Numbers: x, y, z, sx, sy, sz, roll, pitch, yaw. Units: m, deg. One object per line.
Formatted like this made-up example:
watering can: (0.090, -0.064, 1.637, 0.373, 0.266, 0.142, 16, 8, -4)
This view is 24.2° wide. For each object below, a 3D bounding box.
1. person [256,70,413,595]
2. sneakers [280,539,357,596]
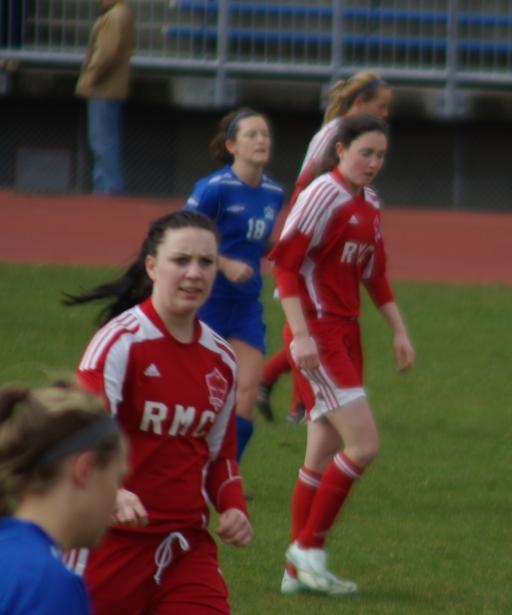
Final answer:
person: (0.336, 0.138, 4.834, 0.548, 1.834, 1.000, 5, 11, 7)
sneakers: (0.242, 0.988, 4.620, 0.331, 0.253, 0.119, 7, 13, 10)
